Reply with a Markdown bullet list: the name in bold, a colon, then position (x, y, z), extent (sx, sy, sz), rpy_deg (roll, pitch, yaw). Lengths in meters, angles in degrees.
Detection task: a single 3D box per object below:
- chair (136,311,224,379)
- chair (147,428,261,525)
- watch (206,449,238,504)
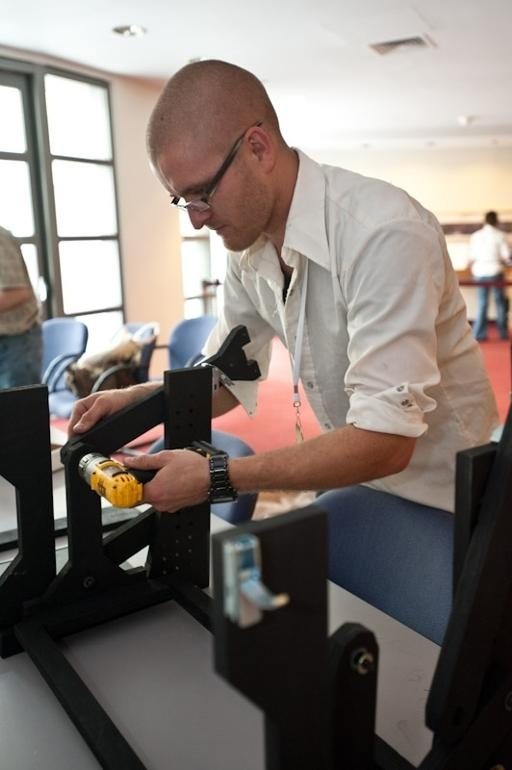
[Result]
- **chair**: position (-0.396, -0.231, 3.675), extent (0.432, 0.440, 0.425), rpy_deg (-8, 15, -39)
- **chair**: position (-0.066, 0.187, 1.517), extent (0.254, 0.224, 0.290), rpy_deg (12, 13, 43)
- **watch**: position (-0.046, 0.123, 0.827), extent (0.041, 0.061, 0.067), rpy_deg (-9, 31, -2)
